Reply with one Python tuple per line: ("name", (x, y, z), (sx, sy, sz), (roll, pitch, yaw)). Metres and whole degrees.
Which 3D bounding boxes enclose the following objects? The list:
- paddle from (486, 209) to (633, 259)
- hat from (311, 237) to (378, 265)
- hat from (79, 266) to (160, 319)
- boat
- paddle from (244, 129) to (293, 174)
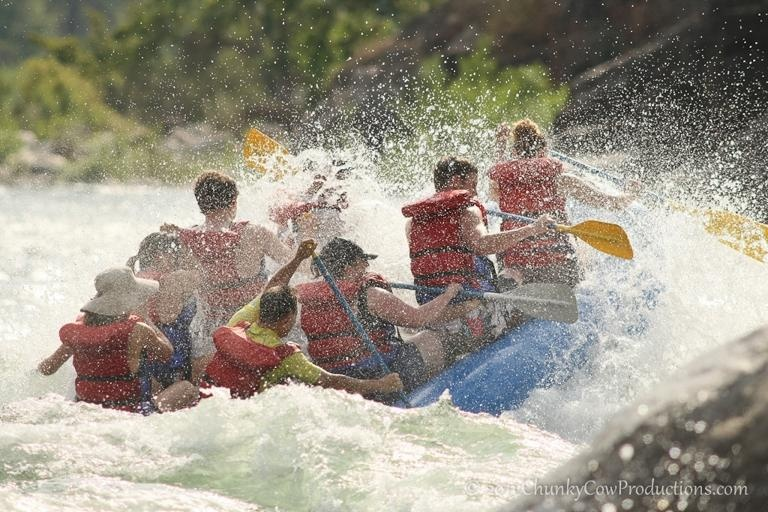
("paddle", (2.053, -0.389, 13.852), (0.515, 0.164, 3.016), (43, -14, -29))
("hat", (-0.433, -0.105, 12.050), (0.496, 0.236, 0.316), (-6, 5, -6))
("hat", (-2.902, 0.386, 11.915), (0.545, 0.223, 0.615), (25, 47, 33))
("boat", (1.611, 0.904, 12.531), (1.756, 3.211, 0.655), (28, -29, 31))
("paddle", (-1.513, -1.323, 14.145), (0.228, 0.415, 0.812), (18, 18, -50))
